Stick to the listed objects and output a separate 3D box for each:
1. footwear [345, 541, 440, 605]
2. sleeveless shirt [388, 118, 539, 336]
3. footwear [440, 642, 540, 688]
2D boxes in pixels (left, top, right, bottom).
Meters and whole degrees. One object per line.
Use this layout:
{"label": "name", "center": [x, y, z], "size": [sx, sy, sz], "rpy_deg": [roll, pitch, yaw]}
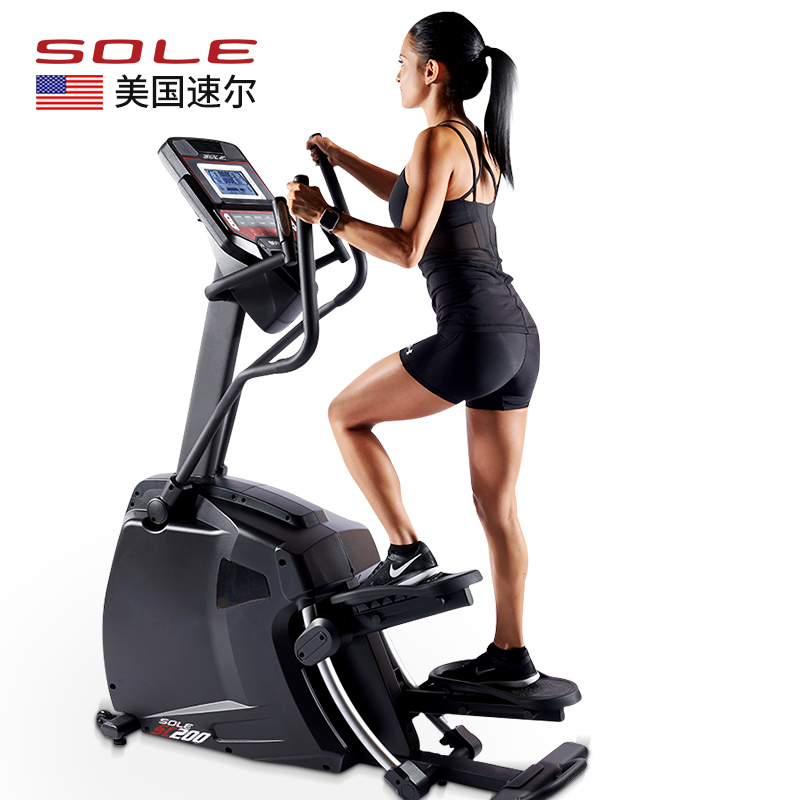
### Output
{"label": "footwear", "center": [-0.060, 0.471, 2.214], "size": [0.350, 0.131, 0.112], "rpy_deg": [-21, -15, 19]}
{"label": "sleeveless shirt", "center": [0.148, -0.478, 2.248], "size": [0.458, 0.618, 0.364], "rpy_deg": [-4, 19, 4]}
{"label": "footwear", "center": [0.263, 0.770, 2.385], "size": [0.324, 0.107, 0.109], "rpy_deg": [1, -5, 22]}
